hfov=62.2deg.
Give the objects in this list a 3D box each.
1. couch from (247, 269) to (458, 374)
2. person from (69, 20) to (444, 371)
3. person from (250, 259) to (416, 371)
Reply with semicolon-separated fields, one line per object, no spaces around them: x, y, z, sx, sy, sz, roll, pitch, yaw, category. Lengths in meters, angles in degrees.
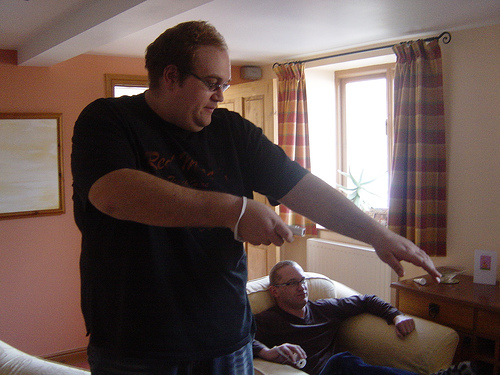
0.765;0.693;2.792;0.871;0.565;0.830;-1;0;-39;couch
-0.104;0.058;1.342;0.908;1.217;0.391;-4;5;-17;person
0.478;0.838;2.772;0.637;0.564;0.994;4;-12;-36;person
